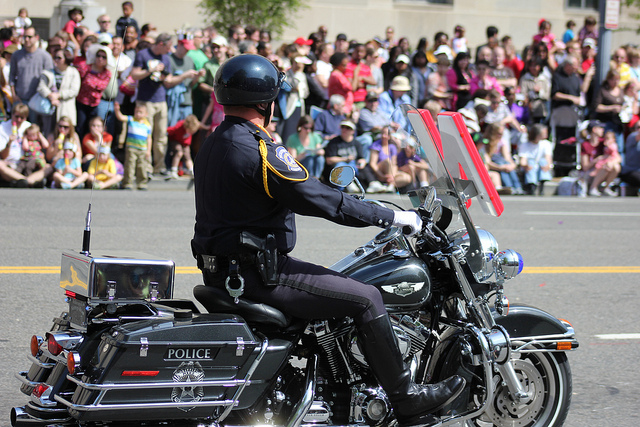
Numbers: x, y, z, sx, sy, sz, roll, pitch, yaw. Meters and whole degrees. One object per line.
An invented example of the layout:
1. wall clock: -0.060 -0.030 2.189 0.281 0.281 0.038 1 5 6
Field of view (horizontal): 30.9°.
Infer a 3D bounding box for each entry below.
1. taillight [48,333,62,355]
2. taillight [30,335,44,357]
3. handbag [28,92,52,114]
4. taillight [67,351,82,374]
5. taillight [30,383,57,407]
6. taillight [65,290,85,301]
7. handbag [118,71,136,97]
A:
1. taillight: -2.592 1.286 11.278 0.144 0.186 0.096 6 15 34
2. taillight: -2.787 1.323 11.439 0.113 0.195 0.157 -2 14 -18
3. handbag: -4.742 -1.870 19.689 0.362 0.357 0.156 42 14 9
4. taillight: -2.364 1.446 11.134 0.214 0.220 0.090 -4 -7 42
5. taillight: -2.702 1.770 11.242 0.202 0.090 0.243 -1 -19 45
6. taillight: -2.421 0.817 11.427 0.303 0.047 0.017 13 17 41
7. handbag: -3.300 -2.193 19.805 0.280 0.454 0.415 1 13 -6
